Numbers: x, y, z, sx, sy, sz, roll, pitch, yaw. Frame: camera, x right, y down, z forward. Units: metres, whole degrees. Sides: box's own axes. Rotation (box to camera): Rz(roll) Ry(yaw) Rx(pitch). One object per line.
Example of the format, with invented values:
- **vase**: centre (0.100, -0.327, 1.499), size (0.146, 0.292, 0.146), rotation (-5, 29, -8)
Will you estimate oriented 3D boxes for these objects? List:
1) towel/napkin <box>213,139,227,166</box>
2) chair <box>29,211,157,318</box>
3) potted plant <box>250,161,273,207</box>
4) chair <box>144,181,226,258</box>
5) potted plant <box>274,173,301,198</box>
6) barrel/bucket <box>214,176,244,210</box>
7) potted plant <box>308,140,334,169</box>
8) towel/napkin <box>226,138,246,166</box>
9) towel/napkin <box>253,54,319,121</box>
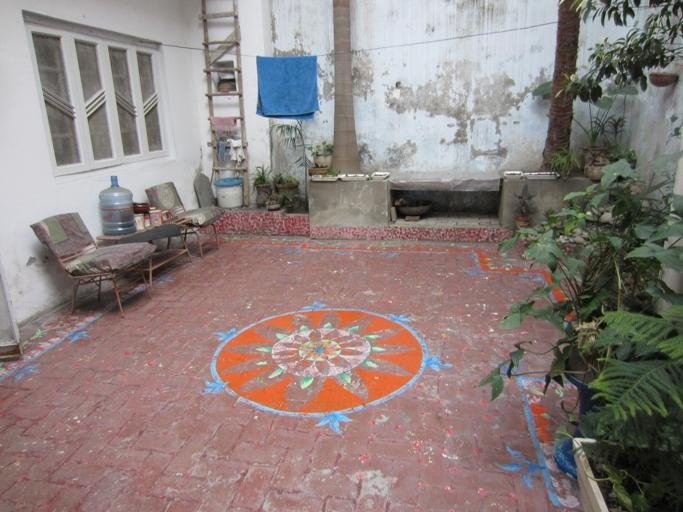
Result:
- **towel/napkin**: centre (-2.434, -2.097, 9.308), size (0.256, 0.505, 0.174), rotation (-11, 19, -17)
- **chair**: centre (-3.316, 0.063, 6.224), size (1.115, 1.190, 0.990), rotation (2, 14, -1)
- **potted plant**: centre (-1.572, -1.381, 9.260), size (0.390, 0.711, 0.380), rotation (-9, 15, -33)
- **chair**: centre (-2.675, -0.682, 8.131), size (1.161, 1.262, 1.206), rotation (10, 21, 36)
- **potted plant**: centre (-1.081, -1.399, 9.068), size (0.462, 0.376, 0.461), rotation (-10, 18, -12)
- **barrel/bucket**: centre (-2.193, -1.281, 9.305), size (0.573, 0.614, 0.600), rotation (0, 17, 0)
- **potted plant**: centre (-0.355, -1.976, 9.025), size (0.578, 0.680, 0.532), rotation (0, 6, 1)
- **towel/napkin**: centre (-2.112, -2.139, 9.243), size (0.467, 0.765, 0.209), rotation (-1, 10, -4)
- **towel/napkin**: centre (-1.044, -3.211, 8.643), size (1.232, 1.192, 0.146), rotation (1, 16, 4)
